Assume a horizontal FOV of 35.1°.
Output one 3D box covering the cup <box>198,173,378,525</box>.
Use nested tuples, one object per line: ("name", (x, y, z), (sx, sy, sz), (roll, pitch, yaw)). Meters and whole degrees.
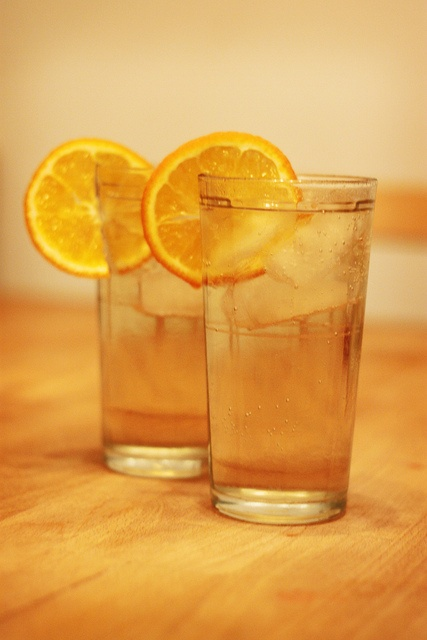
("cup", (0.040, 0.017, 0.413), (0.106, 0.214, 0.063), (2, 2, 10))
